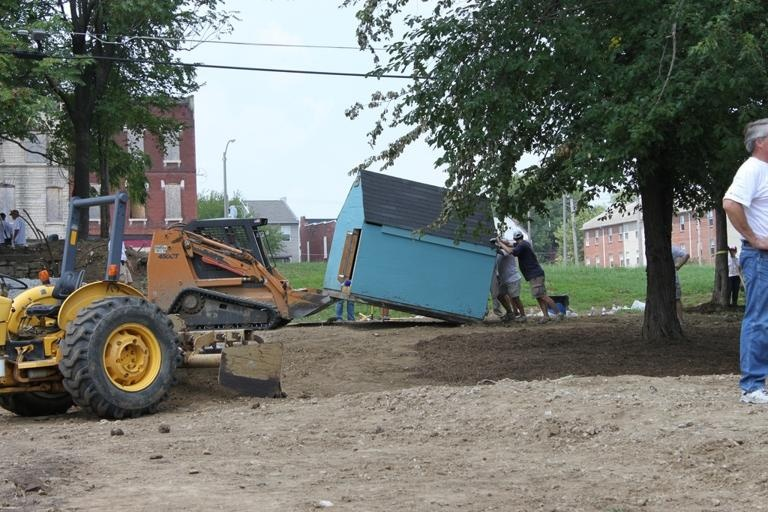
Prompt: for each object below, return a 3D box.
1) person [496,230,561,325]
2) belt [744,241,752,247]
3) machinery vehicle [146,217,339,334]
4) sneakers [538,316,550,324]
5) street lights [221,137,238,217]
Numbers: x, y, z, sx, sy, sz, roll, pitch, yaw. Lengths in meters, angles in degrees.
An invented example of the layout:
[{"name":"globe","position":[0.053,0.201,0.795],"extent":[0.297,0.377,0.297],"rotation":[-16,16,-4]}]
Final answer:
[{"name":"person","position":[3.383,0.445,25.499],"extent":[1.453,2.016,1.120],"rotation":[-1,3,8]},{"name":"belt","position":[5.201,-0.182,15.759],"extent":[0.094,0.053,0.087],"rotation":[2,3,11]},{"name":"machinery vehicle","position":[-2.990,0.322,22.561],"extent":[4.021,1.950,2.083],"rotation":[0,9,-24]},{"name":"sneakers","position":[3.645,1.474,25.119],"extent":[0.305,0.117,0.125],"rotation":[-1,6,6]},{"name":"street lights","position":[-5.988,-3.147,41.764],"extent":[0.525,2.429,0.739],"rotation":[15,-29,-40]}]
